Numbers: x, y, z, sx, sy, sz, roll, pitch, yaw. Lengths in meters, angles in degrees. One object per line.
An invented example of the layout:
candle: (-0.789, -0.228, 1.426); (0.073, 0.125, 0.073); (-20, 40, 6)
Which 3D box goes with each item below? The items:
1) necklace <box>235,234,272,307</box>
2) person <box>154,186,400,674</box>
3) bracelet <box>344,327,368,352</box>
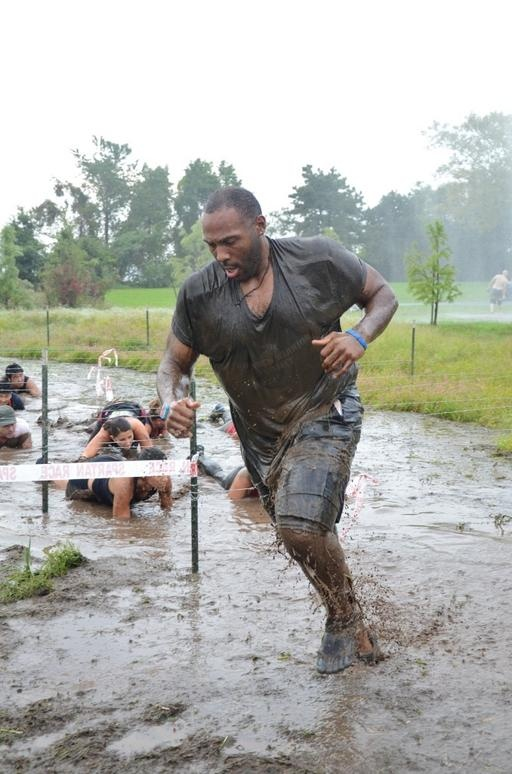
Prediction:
necklace: (-0.014, -0.515, 3.677); (0.207, 0.308, 0.144); (2, 1, -27)
person: (0.116, 0.245, 3.814); (1.075, 2.302, 0.661); (0, 7, 9)
bracelet: (0.450, -0.212, 3.617); (0.087, 0.091, 0.262); (0, 5, 9)
